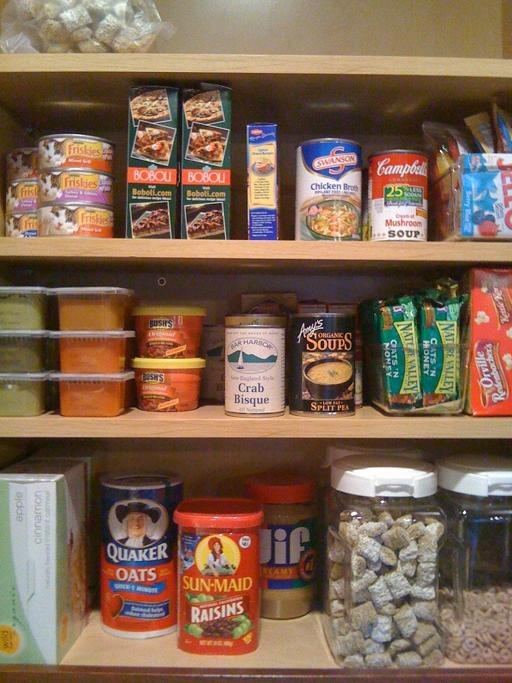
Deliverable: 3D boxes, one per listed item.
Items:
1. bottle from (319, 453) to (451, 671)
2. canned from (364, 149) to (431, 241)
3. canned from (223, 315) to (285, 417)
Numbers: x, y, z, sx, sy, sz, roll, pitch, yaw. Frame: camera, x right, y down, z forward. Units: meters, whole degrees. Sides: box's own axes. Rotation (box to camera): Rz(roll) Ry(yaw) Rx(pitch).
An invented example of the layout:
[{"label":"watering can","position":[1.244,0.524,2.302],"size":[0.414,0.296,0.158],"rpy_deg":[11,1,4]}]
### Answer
[{"label":"bottle","position":[0.225,0.399,1.322],"size":[0.308,0.517,0.309],"rpy_deg":[1,-2,0]},{"label":"canned","position":[0.251,-0.258,1.123],"size":[0.104,0.161,0.068],"rpy_deg":[-3,11,15]},{"label":"canned","position":[-0.004,0.052,1.116],"size":[0.114,0.161,0.064],"rpy_deg":[-7,11,-3]}]
